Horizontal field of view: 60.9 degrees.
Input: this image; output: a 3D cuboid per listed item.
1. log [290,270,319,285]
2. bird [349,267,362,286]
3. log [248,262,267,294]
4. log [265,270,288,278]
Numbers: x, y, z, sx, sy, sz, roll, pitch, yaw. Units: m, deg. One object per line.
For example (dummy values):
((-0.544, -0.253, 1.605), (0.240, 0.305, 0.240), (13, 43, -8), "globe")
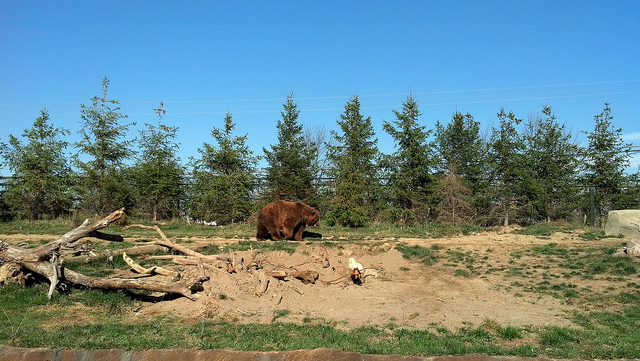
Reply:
((-0.810, 5.528, 31.355), (0.929, 0.237, 0.916), (0, 12, 15), "log")
((2.074, 5.503, 31.472), (0.680, 0.998, 0.405), (-1, -1, 1), "bird")
((-3.485, 5.456, 30.790), (0.534, 0.535, 2.020), (7, 28, -24), "log")
((-2.440, 5.328, 31.039), (0.892, 0.226, 0.518), (0, 1, -10), "log")
